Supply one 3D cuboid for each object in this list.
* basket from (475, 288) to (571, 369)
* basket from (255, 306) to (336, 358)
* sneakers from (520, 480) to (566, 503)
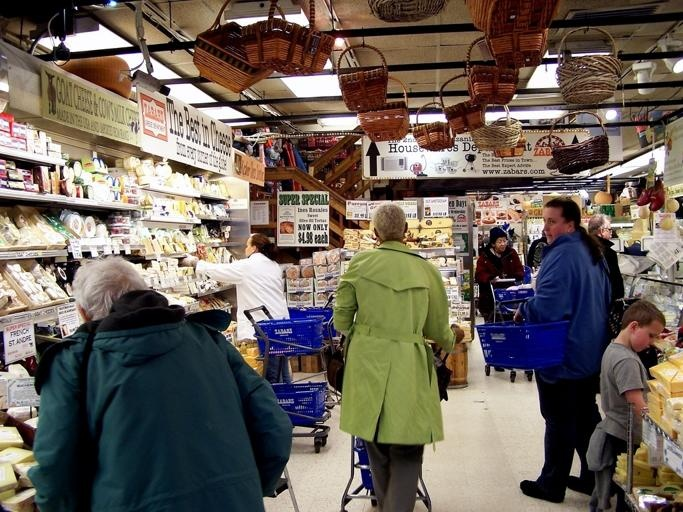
[{"bbox_3d":[1.230,0.623,3.453,0.587,0.344,0.263,-3,1,-29],"label":"basket"},{"bbox_3d":[-0.387,0.671,4.539,0.824,0.456,0.482,-3,0,4],"label":"basket"},{"bbox_3d":[1.477,1.736,3.795,0.243,0.086,0.121,2,-1,30],"label":"sneakers"}]
